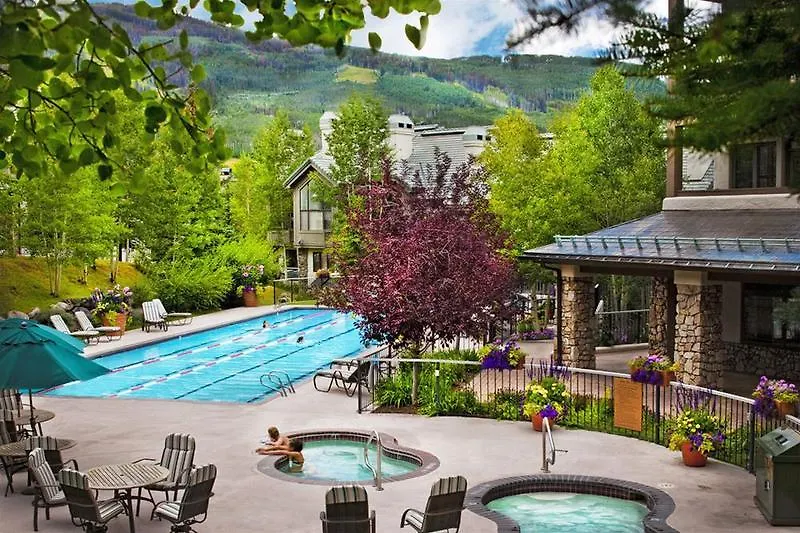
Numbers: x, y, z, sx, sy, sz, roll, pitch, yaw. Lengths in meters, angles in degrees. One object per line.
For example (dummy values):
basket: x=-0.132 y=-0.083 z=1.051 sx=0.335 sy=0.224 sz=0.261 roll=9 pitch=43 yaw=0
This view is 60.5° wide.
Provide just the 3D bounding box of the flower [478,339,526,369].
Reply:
flower: x=2.808 y=2.414 z=18.557 sx=0.849 sy=0.457 sz=0.877 roll=0 pitch=1 yaw=25

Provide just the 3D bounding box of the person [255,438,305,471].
person: x=-2.591 y=4.202 z=15.387 sx=0.846 sy=0.375 sz=0.622 roll=6 pitch=2 yaw=-10

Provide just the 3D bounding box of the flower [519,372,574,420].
flower: x=3.597 y=3.161 z=17.000 sx=1.036 sy=0.882 sz=1.230 roll=-1 pitch=1 yaw=11

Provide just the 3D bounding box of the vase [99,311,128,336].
vase: x=-13.099 y=2.586 z=31.599 sx=1.150 sy=0.948 sz=1.174 roll=-2 pitch=-5 yaw=-3

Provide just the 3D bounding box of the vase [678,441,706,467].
vase: x=6.237 y=4.010 z=14.670 sx=0.508 sy=0.393 sz=0.520 roll=0 pitch=-3 yaw=0

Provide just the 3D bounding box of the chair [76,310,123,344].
chair: x=-13.347 y=2.675 z=30.421 sx=1.883 sy=1.284 sz=1.225 roll=-1 pitch=2 yaw=0

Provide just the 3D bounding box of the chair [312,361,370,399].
chair: x=-1.898 y=3.541 z=22.487 sx=1.997 sy=1.379 sz=1.131 roll=1 pitch=2 yaw=28

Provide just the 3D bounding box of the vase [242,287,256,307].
vase: x=-9.398 y=1.840 z=42.840 sx=0.720 sy=1.223 sz=0.708 roll=1 pitch=0 yaw=-22
